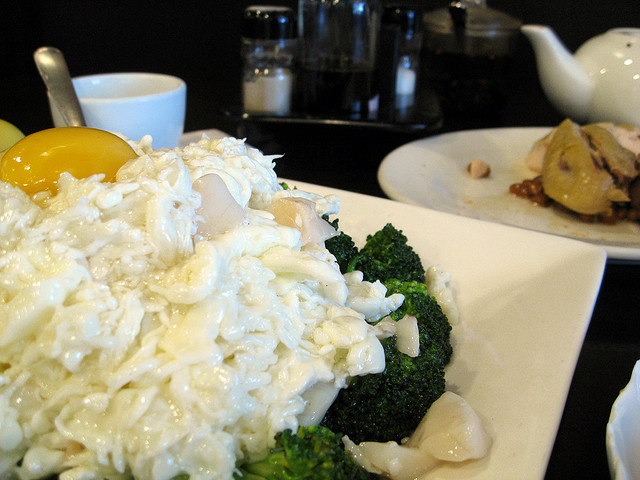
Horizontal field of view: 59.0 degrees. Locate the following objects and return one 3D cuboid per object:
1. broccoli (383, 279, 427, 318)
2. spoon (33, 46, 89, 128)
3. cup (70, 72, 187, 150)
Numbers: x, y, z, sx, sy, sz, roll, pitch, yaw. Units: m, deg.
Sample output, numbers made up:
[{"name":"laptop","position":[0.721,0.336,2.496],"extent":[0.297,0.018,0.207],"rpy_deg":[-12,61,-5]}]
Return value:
[{"name":"broccoli","position":[0.163,0.108,1.113],"extent":[0.088,0.029,0.119],"rpy_deg":[12,35,11]},{"name":"spoon","position":[-0.619,-0.353,1.339],"extent":[0.077,0.190,0.108],"rpy_deg":[-8,35,-18]},{"name":"cup","position":[-0.502,-0.336,1.470],"extent":[0.257,0.207,0.248],"rpy_deg":[4,22,-2]}]
